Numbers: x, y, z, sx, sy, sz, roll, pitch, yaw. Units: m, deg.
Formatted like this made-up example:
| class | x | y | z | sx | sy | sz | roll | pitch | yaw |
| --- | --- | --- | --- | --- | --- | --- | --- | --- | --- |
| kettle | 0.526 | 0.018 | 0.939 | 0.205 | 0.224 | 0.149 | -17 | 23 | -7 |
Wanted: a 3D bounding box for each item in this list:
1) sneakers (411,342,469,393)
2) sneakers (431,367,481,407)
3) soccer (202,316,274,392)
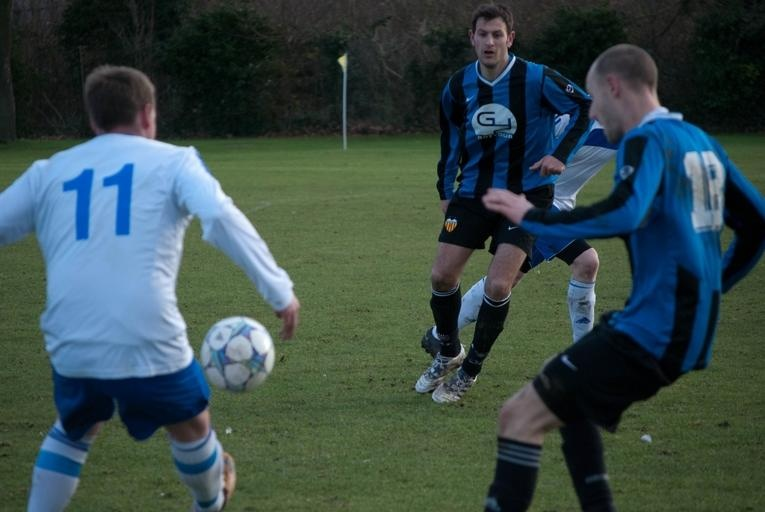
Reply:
| class | x | y | z | sx | sy | sz | roll | pitch | yaw |
| --- | --- | --- | --- | --- | --- | --- | --- | --- | --- |
| sneakers | 0.510 | 0.881 | 7.365 | 0.528 | 0.232 | 0.197 | -38 | 42 | -12 |
| sneakers | 0.536 | 0.989 | 7.182 | 0.441 | 0.154 | 0.191 | -31 | -4 | -10 |
| soccer | -0.917 | 0.660 | 6.403 | 0.508 | 0.465 | 0.465 | 3 | -11 | -8 |
